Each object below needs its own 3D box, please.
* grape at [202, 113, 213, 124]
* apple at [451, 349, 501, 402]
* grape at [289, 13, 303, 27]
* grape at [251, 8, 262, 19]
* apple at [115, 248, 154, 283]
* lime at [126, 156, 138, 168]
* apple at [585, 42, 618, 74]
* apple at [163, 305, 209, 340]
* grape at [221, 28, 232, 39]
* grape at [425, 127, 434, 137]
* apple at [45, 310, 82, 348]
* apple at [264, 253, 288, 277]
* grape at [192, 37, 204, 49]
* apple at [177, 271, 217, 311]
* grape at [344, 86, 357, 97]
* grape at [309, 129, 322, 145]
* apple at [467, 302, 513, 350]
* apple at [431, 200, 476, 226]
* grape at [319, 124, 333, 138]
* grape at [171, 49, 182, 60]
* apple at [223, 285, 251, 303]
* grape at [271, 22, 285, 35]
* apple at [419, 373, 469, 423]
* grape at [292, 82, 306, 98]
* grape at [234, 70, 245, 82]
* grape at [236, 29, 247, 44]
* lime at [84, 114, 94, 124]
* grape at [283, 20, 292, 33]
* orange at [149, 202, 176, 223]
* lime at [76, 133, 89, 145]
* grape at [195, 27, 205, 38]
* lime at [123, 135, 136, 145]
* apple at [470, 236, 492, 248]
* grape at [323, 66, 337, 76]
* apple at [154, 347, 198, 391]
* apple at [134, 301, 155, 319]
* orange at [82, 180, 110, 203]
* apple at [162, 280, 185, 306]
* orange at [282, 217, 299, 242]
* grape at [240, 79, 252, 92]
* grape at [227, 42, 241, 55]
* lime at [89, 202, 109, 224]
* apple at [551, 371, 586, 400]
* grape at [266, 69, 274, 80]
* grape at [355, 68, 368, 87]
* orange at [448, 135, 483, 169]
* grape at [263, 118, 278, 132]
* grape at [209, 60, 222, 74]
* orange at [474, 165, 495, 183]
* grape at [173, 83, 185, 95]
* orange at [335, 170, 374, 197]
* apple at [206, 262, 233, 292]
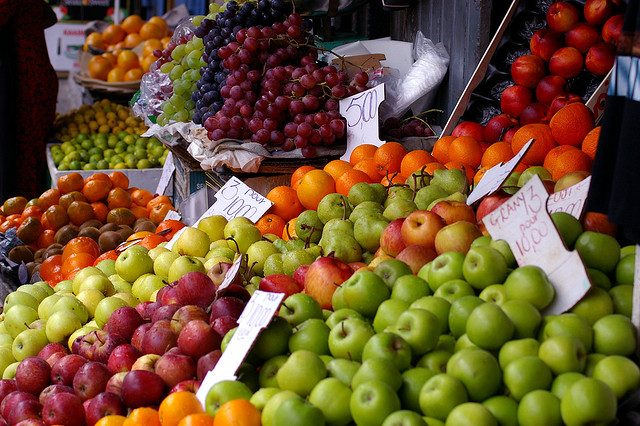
[{"bbox_3d":[-0.739,-0.616,3.652,0.068,0.080,0.053,6,-3,-22],"label":"grape"},{"bbox_3d":[0.530,0.554,1.869,0.147,0.198,0.156,-11,-16,28],"label":"apple"},{"bbox_3d":[-0.157,-1.254,3.666,0.069,0.081,0.094,-14,-22,40],"label":"grape"},{"bbox_3d":[-0.416,-1.300,3.634,0.054,0.067,0.069,0,6,-7],"label":"grape"},{"bbox_3d":[-0.932,0.263,2.774,0.188,0.184,0.167,8,-30,-23],"label":"apple"},{"bbox_3d":[-1.902,-0.505,5.604,0.085,0.122,0.094,14,11,15],"label":"lime"},{"bbox_3d":[1.563,-0.872,3.057,0.130,0.184,0.143,9,-9,6],"label":"apple"},{"bbox_3d":[-0.523,0.418,2.162,0.136,0.134,0.121,-7,-14,-17],"label":"apple"},{"bbox_3d":[-0.618,-1.174,3.632,0.039,0.065,0.061,-5,18,23],"label":"grape"},{"bbox_3d":[0.729,-0.531,3.722,0.062,0.037,0.084,20,38,35],"label":"grape"},{"bbox_3d":[-1.136,0.494,2.478,0.128,0.184,0.145,-9,2,0],"label":"apple"},{"bbox_3d":[-0.213,0.240,2.594,0.095,0.119,0.109,-6,2,-17],"label":"apple"},{"bbox_3d":[-0.871,-1.192,3.916,0.097,0.071,0.037,19,35,34],"label":"grape"},{"bbox_3d":[-0.525,0.346,2.352,0.152,0.201,0.158,-15,-16,27],"label":"apple"},{"bbox_3d":[0.194,-0.776,3.587,0.071,0.068,0.063,13,16,-39],"label":"grape"},{"bbox_3d":[-0.031,-0.459,3.459,0.084,0.083,0.071,7,-12,-44],"label":"grape"},{"bbox_3d":[0.579,0.398,1.922,0.134,0.156,0.144,-10,15,-8],"label":"apple"},{"bbox_3d":[0.586,0.034,2.430,0.131,0.155,0.136,-6,11,-21],"label":"apple"},{"bbox_3d":[0.038,-0.498,3.446,0.069,0.089,0.069,-22,34,-32],"label":"grape"},{"bbox_3d":[-1.073,-1.161,4.137,0.060,0.067,0.079,4,38,-31],"label":"grape"},{"bbox_3d":[-0.338,0.336,2.297,0.080,0.054,0.071,12,-10,-18],"label":"apple"},{"bbox_3d":[-0.267,-1.183,3.572,0.066,0.090,0.078,8,49,7],"label":"grape"},{"bbox_3d":[0.395,0.581,1.837,0.132,0.145,0.141,-29,40,-5],"label":"apple"},{"bbox_3d":[-0.133,-0.763,3.461,0.067,0.098,0.074,-7,5,7],"label":"grape"},{"bbox_3d":[-0.507,-0.853,3.480,0.056,0.069,0.060,-24,62,-9],"label":"grape"},{"bbox_3d":[-0.499,-1.115,3.506,0.072,0.106,0.080,-6,12,5],"label":"grape"},{"bbox_3d":[-2.658,-1.070,6.376,0.096,0.096,0.111,-44,6,-21],"label":"lime"},{"bbox_3d":[-0.217,-1.203,3.603,0.060,0.085,0.063,13,24,38],"label":"grape"},{"bbox_3d":[-1.163,-0.005,4.043,0.181,0.073,0.181,-15,33,-17],"label":"orange"},{"bbox_3d":[-2.546,-0.784,5.934,0.105,0.146,0.116,2,12,-5],"label":"lime"},{"bbox_3d":[-0.828,-1.240,3.818,0.051,0.074,0.058,1,13,-3],"label":"grape"},{"bbox_3d":[-2.063,-0.785,5.995,0.084,0.114,0.101,10,42,-11],"label":"lime"},{"bbox_3d":[0.635,0.106,2.169,0.062,0.044,0.051,-8,1,-4],"label":"apple"},{"bbox_3d":[0.065,-0.913,3.550,0.067,0.066,0.062,16,21,-4],"label":"grape"},{"bbox_3d":[-0.531,0.570,2.026,0.122,0.147,0.131,11,16,26],"label":"apple"},{"bbox_3d":[-0.780,0.431,2.440,0.055,0.066,0.072,-7,11,22],"label":"apple"},{"bbox_3d":[-1.642,-0.151,4.065,0.168,0.157,0.166,-11,29,-13],"label":"orange"},{"bbox_3d":[-0.613,0.338,2.376,0.079,0.093,0.099,1,16,39],"label":"apple"},{"bbox_3d":[-0.162,0.095,2.963,0.087,0.103,0.094,1,-21,-11],"label":"orange"},{"bbox_3d":[-0.468,-0.800,3.501,0.057,0.082,0.066,-5,26,-7],"label":"grape"},{"bbox_3d":[-0.555,-1.053,3.560,0.072,0.065,0.060,15,9,0],"label":"grape"},{"bbox_3d":[-1.587,0.004,3.999,0.125,0.133,0.145,2,51,-16],"label":"lime"},{"bbox_3d":[0.791,0.547,1.779,0.089,0.088,0.077,0,-7,-32],"label":"apple"},{"bbox_3d":[-0.318,-0.868,3.498,0.046,0.056,0.048,1,-6,-18],"label":"grape"},{"bbox_3d":[0.269,-0.866,3.585,0.070,0.100,0.078,0,5,7],"label":"grape"},{"bbox_3d":[0.807,-0.334,3.124,0.163,0.218,0.163,-26,27,-30],"label":"orange"},{"bbox_3d":[-0.304,-0.541,3.418,0.065,0.076,0.088,2,41,7],"label":"grape"},{"bbox_3d":[-0.697,-0.962,3.671,0.064,0.093,0.071,2,4,0],"label":"grape"},{"bbox_3d":[0.834,-0.199,2.805,0.087,0.095,0.102,-5,45,26],"label":"orange"},{"bbox_3d":[-1.008,-0.875,3.944,0.068,0.074,0.093,-16,32,-20],"label":"grape"},{"bbox_3d":[0.178,-0.172,3.003,0.142,0.173,0.156,19,-4,-23],"label":"orange"},{"bbox_3d":[-0.444,0.271,2.492,0.087,0.113,0.098,-20,53,-18],"label":"apple"}]
